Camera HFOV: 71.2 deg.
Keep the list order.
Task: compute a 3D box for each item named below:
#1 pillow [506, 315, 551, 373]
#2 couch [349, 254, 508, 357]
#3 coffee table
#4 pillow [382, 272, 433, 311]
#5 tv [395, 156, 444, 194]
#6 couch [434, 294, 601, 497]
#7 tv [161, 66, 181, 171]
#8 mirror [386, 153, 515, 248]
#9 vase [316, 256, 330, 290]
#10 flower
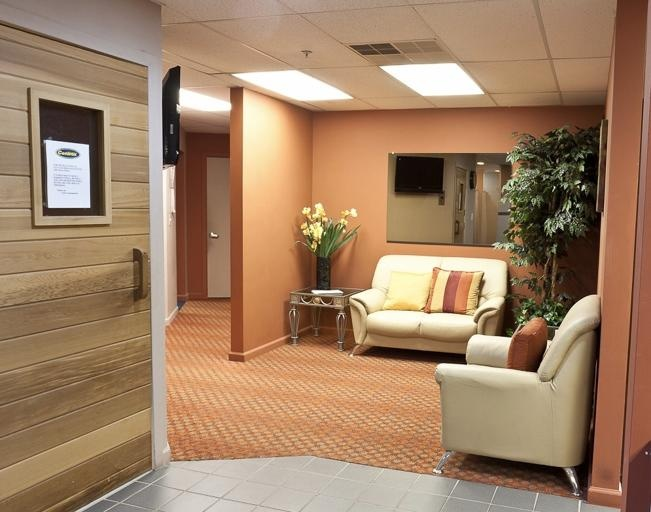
[{"bbox_3d":[1.363,0.591,3.021,0.157,0.281,0.446,0,8,41],"label":"pillow"},{"bbox_3d":[1.239,0.574,5.434,1.701,1.095,1.031,1,4,29],"label":"couch"},{"bbox_3d":[0.011,0.806,5.970,1.008,0.688,1.009,0,3,-35],"label":"coffee table"},{"bbox_3d":[0.996,0.446,5.506,0.519,0.469,0.274,0,0,30],"label":"pillow"},{"bbox_3d":[1.213,-1.050,5.891,0.639,0.512,0.066,1,-5,-1],"label":"tv"},{"bbox_3d":[1.387,0.867,3.243,1.245,1.005,1.364,-4,-1,4],"label":"couch"},{"bbox_3d":[-1.120,-0.984,3.264,0.070,0.679,0.566,-1,8,-26],"label":"tv"},{"bbox_3d":[1.575,-0.685,5.822,1.667,1.241,0.140,1,8,-14],"label":"mirror"},{"bbox_3d":[-0.036,0.220,5.799,0.163,0.399,0.115,1,5,8],"label":"vase"},{"bbox_3d":[0.068,-0.334,6.078,0.753,0.682,0.672,2,2,19],"label":"flower"}]
